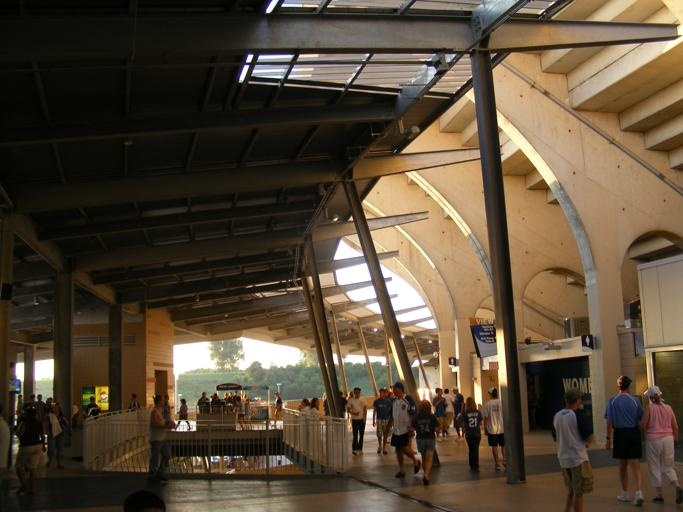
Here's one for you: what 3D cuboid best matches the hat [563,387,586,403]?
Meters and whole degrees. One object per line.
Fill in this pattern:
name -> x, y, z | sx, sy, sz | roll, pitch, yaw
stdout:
hat -> 3.500, 2.106, 8.740 | 0.248, 0.167, 0.332 | -7, 11, 39

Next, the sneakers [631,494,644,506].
sneakers -> 4.586, 3.760, 8.960 | 0.110, 0.145, 0.226 | -1, -13, 10

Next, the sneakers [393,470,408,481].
sneakers -> 1.269, 4.714, 12.526 | 0.280, 0.108, 0.101 | -7, -17, 28

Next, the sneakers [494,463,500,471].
sneakers -> 3.559, 4.779, 13.196 | 0.150, 0.127, 0.256 | -1, 1, 4

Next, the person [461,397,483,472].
person -> 3.075, 4.091, 13.506 | 0.429, 1.616, 1.558 | -9, -16, 9

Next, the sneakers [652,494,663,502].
sneakers -> 5.021, 3.841, 9.248 | 0.080, 0.073, 0.190 | -2, -5, -5

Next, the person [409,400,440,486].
person -> 1.732, 3.725, 11.734 | 0.503, 1.598, 0.808 | -8, -16, 7

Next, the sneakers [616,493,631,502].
sneakers -> 4.561, 3.874, 9.398 | 0.192, 0.138, 0.298 | -12, -17, 24
